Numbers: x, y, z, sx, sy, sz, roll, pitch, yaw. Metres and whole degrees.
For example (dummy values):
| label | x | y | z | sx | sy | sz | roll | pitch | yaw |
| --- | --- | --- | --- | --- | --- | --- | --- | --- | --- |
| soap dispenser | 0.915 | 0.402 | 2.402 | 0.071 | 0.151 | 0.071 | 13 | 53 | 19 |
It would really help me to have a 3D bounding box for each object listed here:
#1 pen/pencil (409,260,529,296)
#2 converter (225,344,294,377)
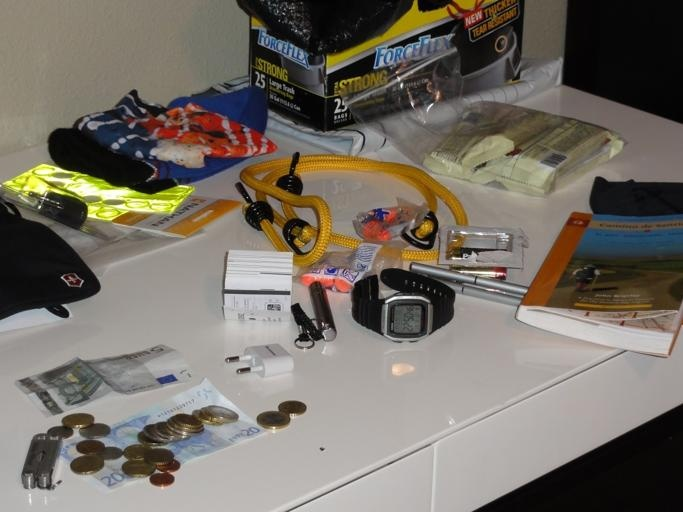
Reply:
| label | x | y | z | sx | sy | sz | roll | pitch | yaw |
| --- | --- | --- | --- | --- | --- | --- | --- | --- | --- |
| pen/pencil | 0.185 | 0.033 | 0.770 | 0.175 | 0.013 | 0.020 | 11 | -1 | 11 |
| converter | -0.105 | 0.123 | 0.651 | 0.088 | 0.031 | 0.090 | -3 | 3 | -10 |
